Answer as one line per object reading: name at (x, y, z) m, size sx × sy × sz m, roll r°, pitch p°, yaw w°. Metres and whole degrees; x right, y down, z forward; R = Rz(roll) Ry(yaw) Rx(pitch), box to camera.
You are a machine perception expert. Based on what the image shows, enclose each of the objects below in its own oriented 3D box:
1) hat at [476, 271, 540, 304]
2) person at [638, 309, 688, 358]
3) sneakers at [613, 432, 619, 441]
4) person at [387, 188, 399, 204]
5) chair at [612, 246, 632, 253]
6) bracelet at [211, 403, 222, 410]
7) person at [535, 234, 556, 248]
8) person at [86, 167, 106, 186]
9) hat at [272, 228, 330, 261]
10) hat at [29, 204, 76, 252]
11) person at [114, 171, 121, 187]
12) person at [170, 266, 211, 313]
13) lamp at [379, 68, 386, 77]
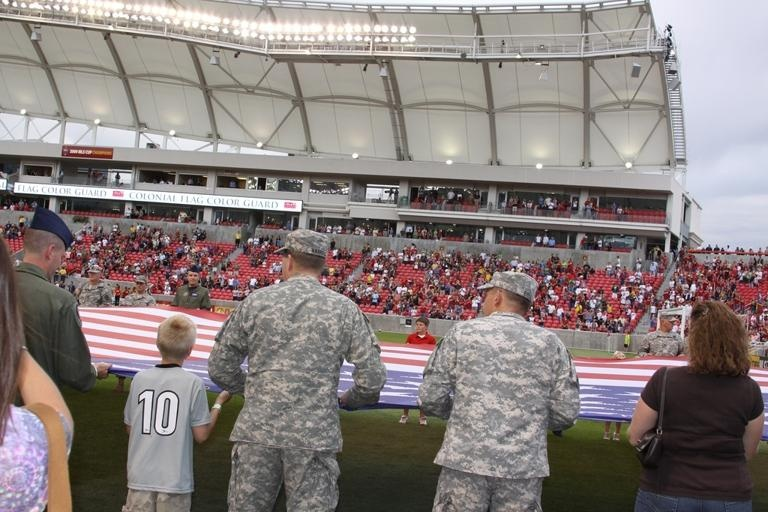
hat at (1.312, 0.268, 9.135) m, size 0.666 × 0.259 × 0.471 m, roll 6°, pitch -2°, yaw 21°
person at (4.574, 1.384, 13.795) m, size 0.745 × 1.091 × 0.526 m, roll 4°, pitch -26°, yaw 14°
sneakers at (3.973, 3.064, 14.457) m, size 0.141 × 0.139 × 0.088 m, roll -4°, pitch -3°, yaw 26°
person at (0.576, -3.540, 49.596) m, size 0.537 × 0.992 × 0.928 m, roll 3°, pitch -3°, yaw -3°
chair at (12.161, -0.341, 43.105) m, size 0.900 × 0.391 × 0.219 m, roll 6°, pitch 21°, yaw 36°
bracelet at (-1.864, 1.670, 9.493) m, size 0.127 × 0.084 × 0.127 m, roll -1°, pitch -2°, yaw -13°
person at (8.530, -0.801, 44.588) m, size 1.722 × 0.521 × 0.623 m, roll -2°, pitch 10°, yaw -7°
person at (-17.698, -4.868, 52.594) m, size 1.179 × 0.996 × 0.891 m, roll 4°, pitch -4°, yaw -10°
hat at (-0.835, -0.129, 8.957) m, size 0.319 × 0.209 × 0.423 m, roll 4°, pitch 0°, yaw -37°
hat at (-3.449, -0.339, 8.976) m, size 0.367 × 0.269 × 0.548 m, roll 9°, pitch -16°, yaw 47°
person at (-16.482, -4.774, 52.550) m, size 0.415 × 0.915 × 0.573 m, roll 4°, pitch -4°, yaw -20°
person at (-3.092, 0.524, 13.738) m, size 0.601 × 0.623 × 0.833 m, roll 4°, pitch -4°, yaw -14°
lamp at (-0.036, -9.472, 43.777) m, size 0.379 × 0.387 × 0.368 m, roll -3°, pitch 0°, yaw -5°
